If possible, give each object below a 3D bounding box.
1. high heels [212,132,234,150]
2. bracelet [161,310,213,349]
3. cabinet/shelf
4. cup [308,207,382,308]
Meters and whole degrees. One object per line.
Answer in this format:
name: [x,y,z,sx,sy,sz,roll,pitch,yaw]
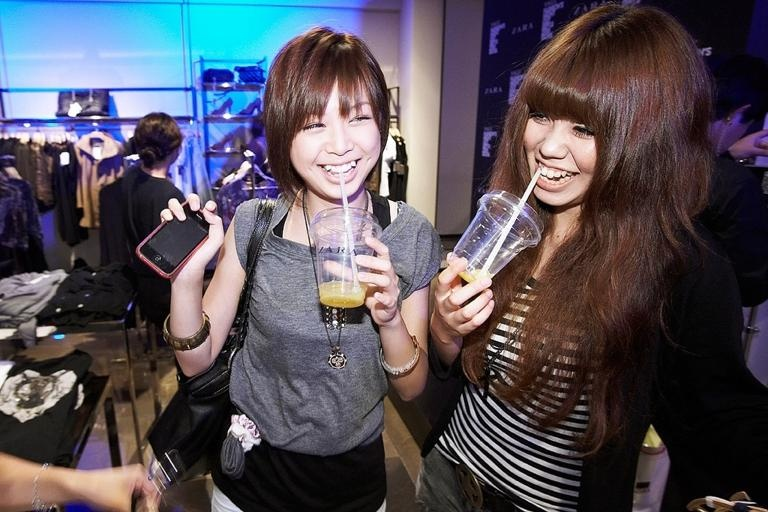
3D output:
high heels: [-1.805,-1.281,5.561,0.113,0.183,0.181,28,19,22]
bracelet: [-0.734,0.281,1.850,0.171,0.131,0.093,-2,12,-8]
cabinet/shelf: [-1.654,-1.467,5.405,0.586,1.299,0.245,-3,-16,-16]
cup: [-0.146,0.015,1.809,0.322,0.339,0.310,-1,-23,0]
